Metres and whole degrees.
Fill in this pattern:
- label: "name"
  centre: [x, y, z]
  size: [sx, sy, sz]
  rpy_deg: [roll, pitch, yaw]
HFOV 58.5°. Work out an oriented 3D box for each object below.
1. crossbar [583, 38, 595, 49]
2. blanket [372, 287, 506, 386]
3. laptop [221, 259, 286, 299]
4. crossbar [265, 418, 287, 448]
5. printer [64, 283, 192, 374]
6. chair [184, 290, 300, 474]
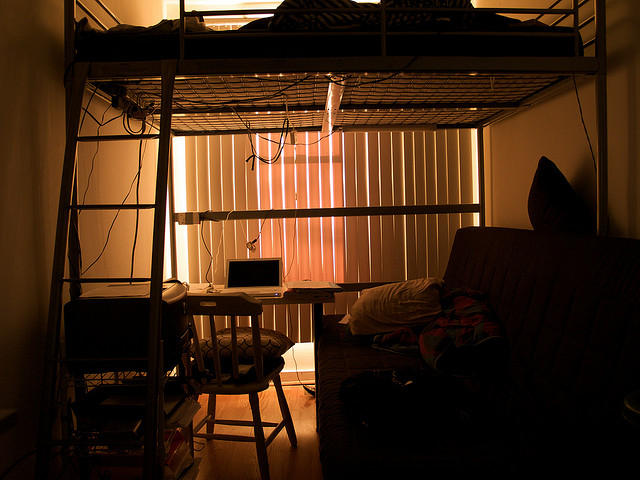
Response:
- label: "crossbar"
  centre: [1.409, -1.024, 2.992]
  size: [0.052, 0.040, 0.110]
  rpy_deg: [0, -1, 24]
- label: "blanket"
  centre: [0.671, 0.458, 2.928]
  size: [0.352, 0.201, 0.483]
  rpy_deg: [-10, 4, -17]
- label: "laptop"
  centre: [-0.465, 0.233, 3.905]
  size: [0.421, 0.281, 0.390]
  rpy_deg: [-2, -6, 8]
- label: "crossbar"
  centre: [-0.252, 1.125, 3.309]
  size: [0.026, 0.029, 0.185]
  rpy_deg: [29, 24, 9]
- label: "printer"
  centre: [-1.068, 0.449, 2.931]
  size: [0.604, 0.393, 0.655]
  rpy_deg: [7, 4, 0]
- label: "chair"
  centre: [-0.467, 0.773, 3.484]
  size: [0.620, 0.994, 1.281]
  rpy_deg: [0, -1, -8]
